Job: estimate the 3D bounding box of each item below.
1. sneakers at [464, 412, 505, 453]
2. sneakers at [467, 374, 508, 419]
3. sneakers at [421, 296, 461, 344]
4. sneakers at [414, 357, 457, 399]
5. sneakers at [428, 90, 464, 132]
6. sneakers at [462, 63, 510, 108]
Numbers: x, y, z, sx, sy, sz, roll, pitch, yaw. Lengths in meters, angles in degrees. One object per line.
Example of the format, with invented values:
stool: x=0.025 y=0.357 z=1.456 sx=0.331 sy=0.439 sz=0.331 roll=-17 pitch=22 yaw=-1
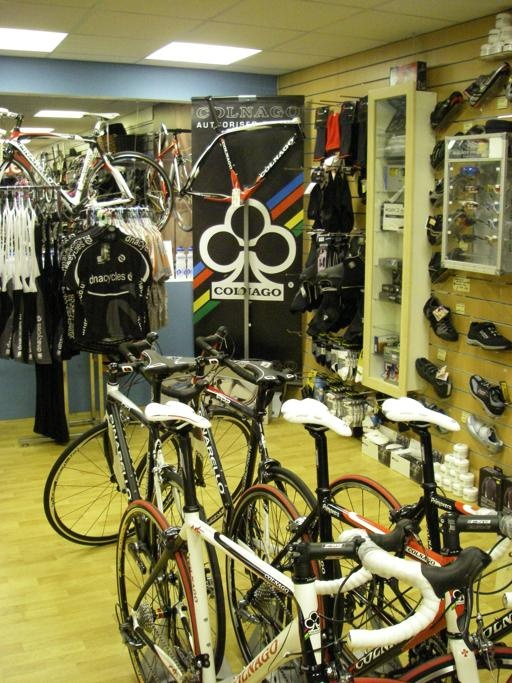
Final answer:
sneakers: x=1.452 y=0.571 z=3.552 sx=0.105 sy=0.124 sz=0.288 roll=-22 pitch=43 yaw=-10
sneakers: x=1.448 y=0.336 z=3.491 sx=0.105 sy=0.132 sz=0.290 roll=-15 pitch=38 yaw=-6
sneakers: x=1.268 y=-0.152 z=3.835 sx=0.132 sy=0.166 sz=0.374 roll=-18 pitch=56 yaw=-17
sneakers: x=1.246 y=0.256 z=3.907 sx=0.135 sy=0.161 sz=0.380 roll=-17 pitch=51 yaw=-16
sneakers: x=1.253 y=-1.517 z=3.656 sx=0.109 sy=0.124 sz=0.291 roll=-33 pitch=11 yaw=1
sneakers: x=1.387 y=-1.550 z=3.309 sx=0.284 sy=0.122 sz=0.097 roll=-43 pitch=-14 yaw=31
